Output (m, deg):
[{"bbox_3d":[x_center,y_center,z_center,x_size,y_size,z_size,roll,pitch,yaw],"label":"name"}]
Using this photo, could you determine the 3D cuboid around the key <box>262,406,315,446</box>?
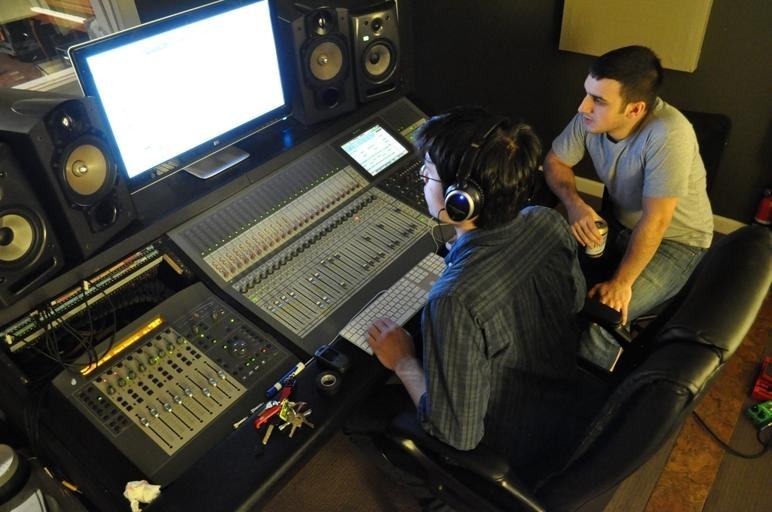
[{"bbox_3d":[-0.386,0.640,2.160,0.143,0.040,0.148,22,63,8],"label":"key"}]

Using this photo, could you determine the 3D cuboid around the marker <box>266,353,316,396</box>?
[{"bbox_3d":[-0.379,0.479,2.263,0.065,0.058,0.219,25,43,30],"label":"marker"}]

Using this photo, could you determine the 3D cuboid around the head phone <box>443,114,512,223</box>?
[{"bbox_3d":[0.301,-0.316,2.114,0.173,0.331,0.246,15,33,22],"label":"head phone"}]

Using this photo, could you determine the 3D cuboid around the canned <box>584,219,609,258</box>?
[{"bbox_3d":[1.066,-0.086,2.930,0.103,0.176,0.108,-5,40,7],"label":"canned"}]

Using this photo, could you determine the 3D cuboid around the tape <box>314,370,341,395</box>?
[{"bbox_3d":[-0.225,0.497,2.246,0.092,0.037,0.094,0,37,0],"label":"tape"}]

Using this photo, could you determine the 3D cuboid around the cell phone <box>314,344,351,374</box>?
[{"bbox_3d":[-0.221,0.404,2.286,0.136,0.041,0.079,35,59,28],"label":"cell phone"}]
